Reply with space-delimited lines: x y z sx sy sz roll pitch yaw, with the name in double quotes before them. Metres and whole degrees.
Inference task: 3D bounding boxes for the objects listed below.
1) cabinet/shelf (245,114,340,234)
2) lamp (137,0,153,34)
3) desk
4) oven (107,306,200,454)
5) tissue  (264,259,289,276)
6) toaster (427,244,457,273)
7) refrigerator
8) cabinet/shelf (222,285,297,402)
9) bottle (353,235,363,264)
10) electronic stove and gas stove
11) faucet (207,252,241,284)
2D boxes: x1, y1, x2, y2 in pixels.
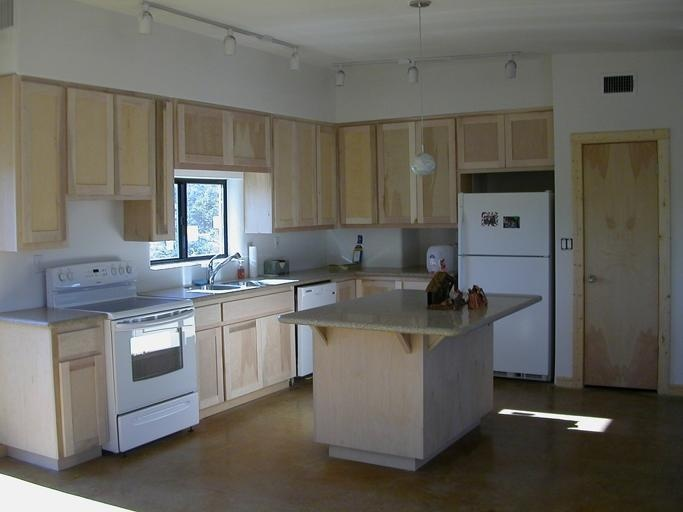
"cabinet/shelf" -0.540 -0.831 6.470 0.384 1.134 1.221 3 8 34
"lamp" -1.430 -1.717 4.082 0.079 0.268 0.315 -3 7 -20
"desk" 0.441 0.949 4.148 1.724 1.149 1.099 -3 7 -17
"oven" -1.709 0.960 4.690 0.773 1.066 0.844 0 3 43
"tissue " -0.733 0.132 6.313 0.289 0.166 0.187 -2 7 -14
"toaster" 1.183 -0.018 6.557 0.264 0.430 0.489 5 6 44
"refrigerator" 1.738 0.348 6.232 1.089 1.930 1.116 -1 3 24
"cabinet/shelf" -0.821 0.831 5.376 0.342 0.937 1.084 -1 1 28
"bottle" 0.208 -0.085 7.096 0.126 0.361 0.151 1 6 13
"electronic stove and gas stove" -1.864 0.284 4.560 0.631 0.280 0.620 1 3 28
"faucet" -1.211 0.118 5.807 0.331 0.288 0.479 -2 7 -9
